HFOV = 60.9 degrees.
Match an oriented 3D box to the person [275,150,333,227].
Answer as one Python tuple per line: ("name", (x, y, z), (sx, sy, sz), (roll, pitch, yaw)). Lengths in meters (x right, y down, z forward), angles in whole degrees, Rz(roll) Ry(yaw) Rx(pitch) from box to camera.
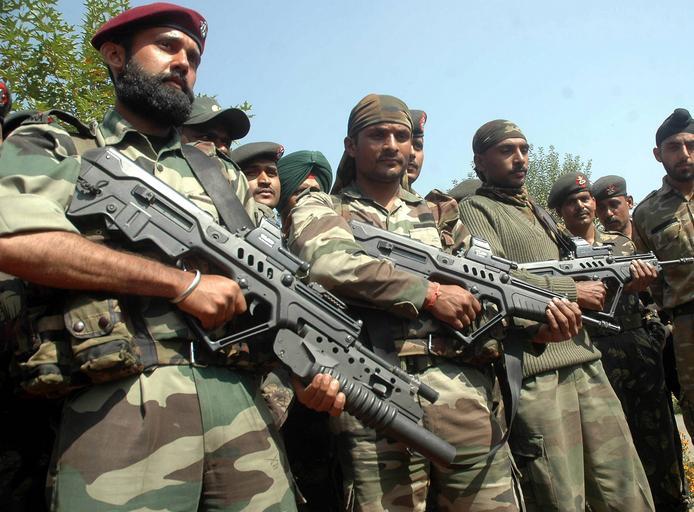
("person", (-0.496, -0.875, 7.373), (0.694, 0.826, 0.845), (-1, -10, -10))

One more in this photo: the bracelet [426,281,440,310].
("bracelet", (0.692, 0.299, 4.687), (0.137, 0.182, 0.070), (10, -11, -43))

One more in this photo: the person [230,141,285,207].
("person", (-1.033, -0.904, 6.872), (0.777, 0.710, 0.878), (-1, 0, -18))

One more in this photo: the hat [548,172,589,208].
("hat", (2.851, -0.872, 7.635), (0.442, 0.194, 0.500), (-6, -26, -15))

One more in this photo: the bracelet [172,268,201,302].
("bracelet", (-0.986, 0.186, 3.631), (0.040, 0.162, 0.166), (40, -46, -23))

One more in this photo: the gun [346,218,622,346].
("gun", (1.228, 0.369, 4.993), (2.567, 0.928, 0.299), (18, -33, -16))
